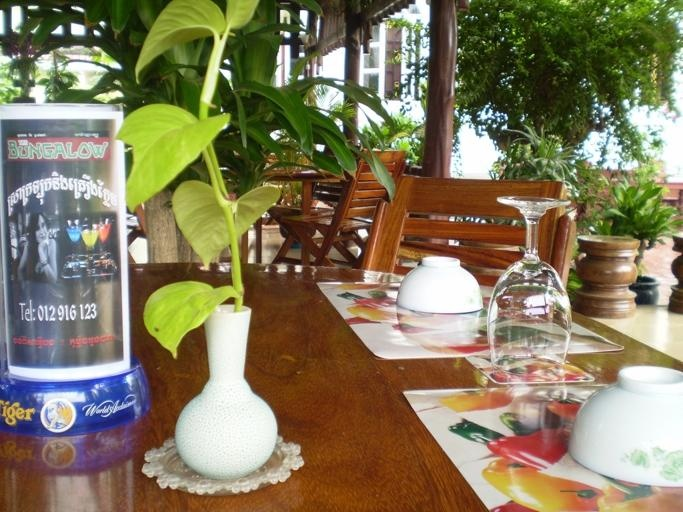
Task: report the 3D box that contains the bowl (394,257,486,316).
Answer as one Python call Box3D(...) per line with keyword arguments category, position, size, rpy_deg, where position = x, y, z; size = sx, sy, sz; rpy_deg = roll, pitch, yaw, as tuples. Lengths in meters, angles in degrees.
Box3D(category="bowl", position=(0.170, 0.044, 0.963), size=(0.146, 0.078, 0.147), rpy_deg=(1, 9, 0))

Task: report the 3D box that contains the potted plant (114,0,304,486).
Box3D(category="potted plant", position=(-0.109, -0.020, 0.470), size=(0.134, 0.393, 0.243), rpy_deg=(-3, 12, -17))
